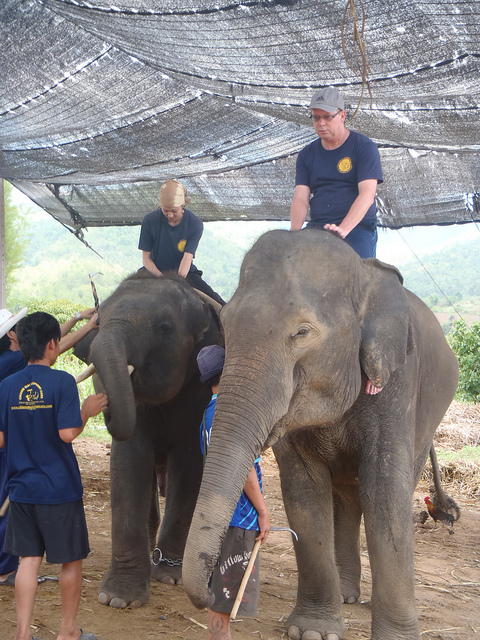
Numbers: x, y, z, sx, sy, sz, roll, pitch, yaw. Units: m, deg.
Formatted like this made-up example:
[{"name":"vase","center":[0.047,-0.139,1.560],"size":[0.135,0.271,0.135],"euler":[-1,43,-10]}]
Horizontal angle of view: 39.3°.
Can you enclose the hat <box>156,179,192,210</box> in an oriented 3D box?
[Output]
[{"name":"hat","center":[-0.406,-0.752,4.135],"size":[0.174,0.187,0.146],"euler":[-4,56,5]}]

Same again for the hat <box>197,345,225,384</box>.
[{"name":"hat","center":[-0.116,0.165,2.564],"size":[0.096,0.158,0.180],"euler":[2,20,-5]}]

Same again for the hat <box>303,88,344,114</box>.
[{"name":"hat","center":[0.411,-1.032,3.205],"size":[0.118,0.076,0.170],"euler":[2,4,37]}]
